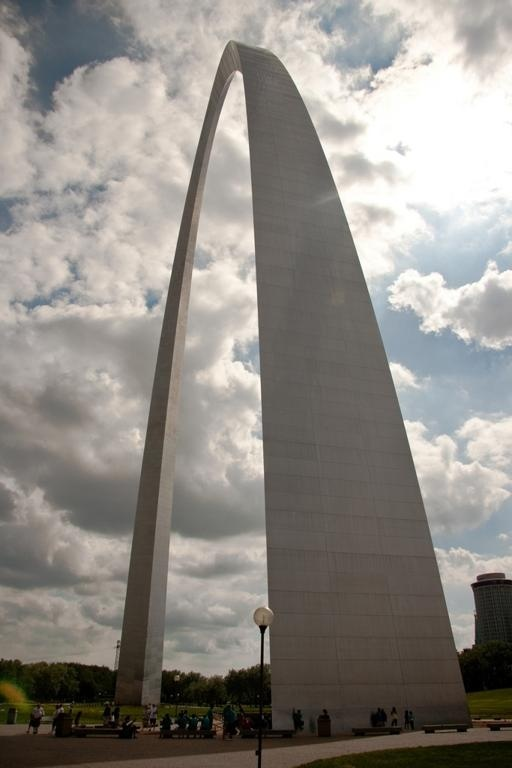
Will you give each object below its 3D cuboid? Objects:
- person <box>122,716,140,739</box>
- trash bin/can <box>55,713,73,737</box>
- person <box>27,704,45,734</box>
[{"bbox_3d":[-3.461,9.357,15.099,0.406,0.475,0.891,6,-25,-11],"label":"person"},{"bbox_3d":[-5.403,9.582,15.608,0.421,0.460,0.989,8,-25,-15],"label":"trash bin/can"},{"bbox_3d":[-6.841,10.325,17.119,0.351,0.772,1.806,9,-26,-17],"label":"person"}]
